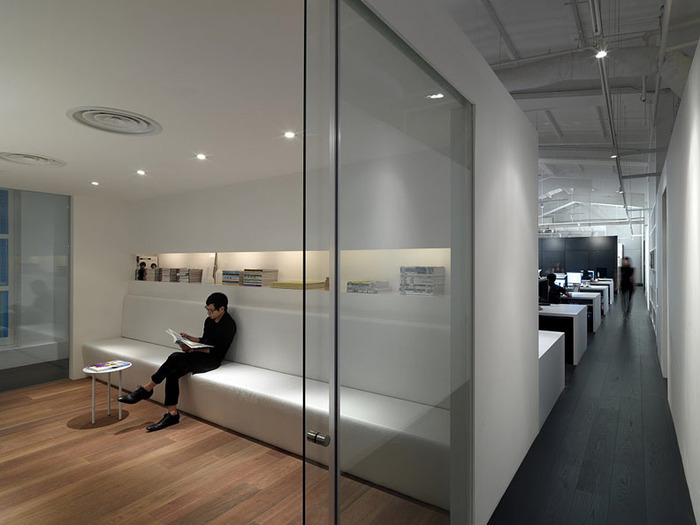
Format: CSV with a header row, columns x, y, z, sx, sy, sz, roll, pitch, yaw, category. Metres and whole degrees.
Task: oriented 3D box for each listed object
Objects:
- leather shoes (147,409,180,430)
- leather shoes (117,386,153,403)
x,y,z,sx,sy,sz,roll,pitch,yaw,category
-1.908,1.643,4.651,0.122,0.147,0.368,-2,-3,43,leather shoes
-2.294,1.445,4.930,0.454,0.199,0.153,12,-7,-42,leather shoes
